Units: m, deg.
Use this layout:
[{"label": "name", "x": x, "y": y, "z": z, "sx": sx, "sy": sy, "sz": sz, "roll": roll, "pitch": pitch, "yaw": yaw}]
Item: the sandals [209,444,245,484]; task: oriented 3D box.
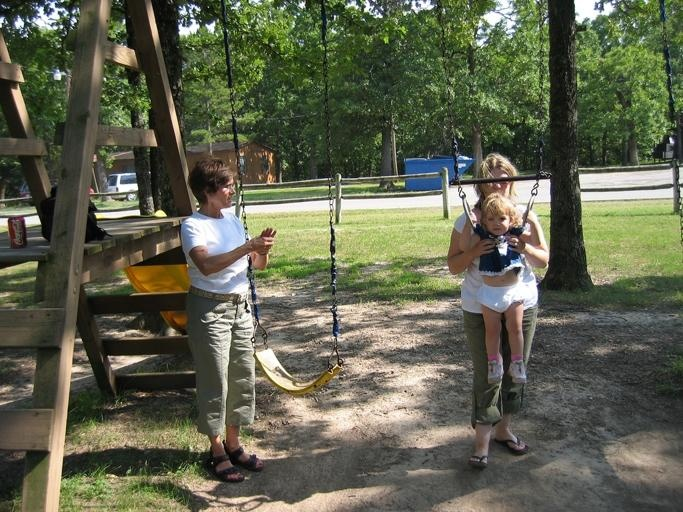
[{"label": "sandals", "x": -0.890, "y": 1.605, "z": 5.094, "sx": 0.152, "sy": 0.139, "sz": 0.352, "roll": -8, "pitch": 15, "yaw": -36}]

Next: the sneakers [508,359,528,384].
[{"label": "sneakers", "x": 1.360, "y": 0.871, "z": 4.972, "sx": 0.119, "sy": 0.180, "sz": 0.181, "roll": -2, "pitch": -5, "yaw": -4}]

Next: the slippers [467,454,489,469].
[{"label": "slippers", "x": 1.024, "y": 1.536, "z": 4.949, "sx": 0.134, "sy": 0.123, "sz": 0.089, "roll": -2, "pitch": 8, "yaw": 10}]

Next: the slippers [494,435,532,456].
[{"label": "slippers", "x": 1.334, "y": 1.452, "z": 5.161, "sx": 0.136, "sy": 0.062, "sz": 0.205, "roll": -25, "pitch": 29, "yaw": -34}]

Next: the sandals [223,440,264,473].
[{"label": "sandals", "x": -0.769, "y": 1.576, "z": 5.181, "sx": 0.312, "sy": 0.115, "sz": 0.142, "roll": 13, "pitch": 18, "yaw": 19}]

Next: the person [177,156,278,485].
[{"label": "person", "x": -0.850, "y": 0.474, "z": 5.096, "sx": 0.672, "sy": 2.414, "sz": 0.518, "roll": -6, "pitch": 9, "yaw": -20}]

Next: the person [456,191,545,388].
[{"label": "person", "x": 1.148, "y": 0.264, "z": 4.877, "sx": 0.471, "sy": 1.418, "sz": 0.281, "roll": -5, "pitch": 8, "yaw": -8}]
